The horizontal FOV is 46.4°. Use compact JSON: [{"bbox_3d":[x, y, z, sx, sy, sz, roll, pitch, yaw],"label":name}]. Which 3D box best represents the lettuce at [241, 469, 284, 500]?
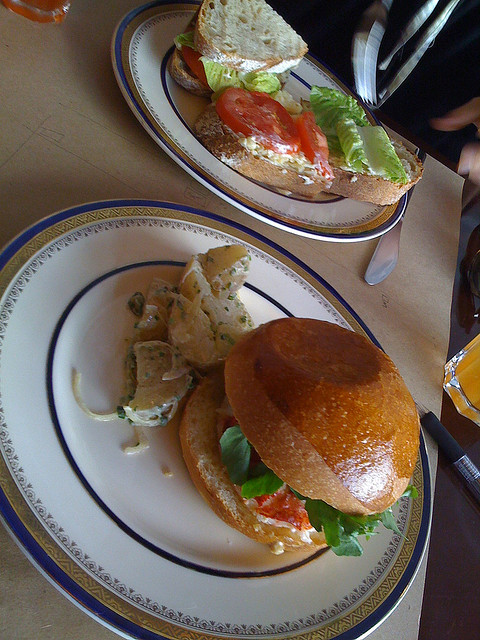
[{"bbox_3d":[0.033,0.274,0.934,0.058,0.014,0.041,-21,46,-16],"label":"lettuce"}]

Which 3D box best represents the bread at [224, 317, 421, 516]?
[{"bbox_3d":[0.079,0.187,0.991,0.327,0.104,0.320,-21,67,-39],"label":"bread"}]

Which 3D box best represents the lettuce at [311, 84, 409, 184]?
[{"bbox_3d":[0.309,-0.520,1.625,0.238,0.073,0.335,15,46,-36],"label":"lettuce"}]

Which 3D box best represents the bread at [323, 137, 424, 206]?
[{"bbox_3d":[0.414,-0.404,1.681,0.306,0.095,0.235,-5,32,-45],"label":"bread"}]

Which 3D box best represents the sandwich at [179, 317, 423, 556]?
[{"bbox_3d":[0.134,0.182,1.045,0.488,0.272,0.443,9,34,-10],"label":"sandwich"}]

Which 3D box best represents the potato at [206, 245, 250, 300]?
[{"bbox_3d":[-0.009,-0.107,1.136,0.126,0.048,0.144,-5,40,10],"label":"potato"}]

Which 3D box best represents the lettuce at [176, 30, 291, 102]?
[{"bbox_3d":[-0.017,-0.660,1.539,0.250,0.075,0.242,46,47,12],"label":"lettuce"}]

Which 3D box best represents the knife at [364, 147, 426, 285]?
[{"bbox_3d":[0.496,-0.317,1.747,0.088,0.024,0.589,33,52,-5],"label":"knife"}]

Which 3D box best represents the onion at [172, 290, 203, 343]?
[{"bbox_3d":[-0.095,-0.009,1.027,0.040,0.025,0.089,30,82,0],"label":"onion"}]

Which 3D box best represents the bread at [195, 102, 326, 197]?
[{"bbox_3d":[0.031,-0.394,1.415,0.262,0.059,0.253,17,19,-23],"label":"bread"}]

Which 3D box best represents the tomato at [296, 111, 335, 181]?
[{"bbox_3d":[0.202,-0.480,1.516,0.115,0.038,0.162,35,2,18],"label":"tomato"}]

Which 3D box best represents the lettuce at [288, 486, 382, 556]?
[{"bbox_3d":[0.121,0.315,0.898,0.102,0.029,0.101,38,36,-24],"label":"lettuce"}]
